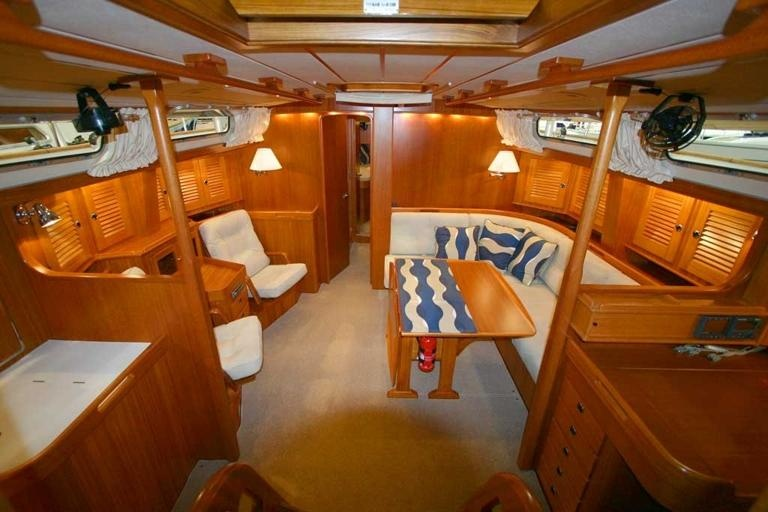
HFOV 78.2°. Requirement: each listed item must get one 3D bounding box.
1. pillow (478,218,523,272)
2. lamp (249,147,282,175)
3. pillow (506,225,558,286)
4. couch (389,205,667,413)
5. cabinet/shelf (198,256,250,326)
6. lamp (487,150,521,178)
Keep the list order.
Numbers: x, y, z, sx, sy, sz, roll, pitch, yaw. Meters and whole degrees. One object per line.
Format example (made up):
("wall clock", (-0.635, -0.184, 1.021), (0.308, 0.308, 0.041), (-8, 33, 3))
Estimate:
("pillow", (1.225, -0.111, 5.072), (0.172, 0.556, 0.477), (26, -94, -46))
("lamp", (-1.255, -0.995, 4.998), (0.324, 0.320, 0.192), (-1, -73, -6))
("pillow", (1.535, 0.029, 4.874), (0.303, 0.484, 0.411), (-12, -43, -9))
("couch", (1.253, 0.568, 4.877), (1.940, 1.912, 0.824), (2, -65, 6))
("cabinet/shelf", (-1.363, 0.318, 4.022), (0.427, 0.430, 0.554), (1, -64, 4))
("lamp", (1.384, -1.074, 5.465), (0.355, 0.319, 0.215), (-2, -71, -3))
